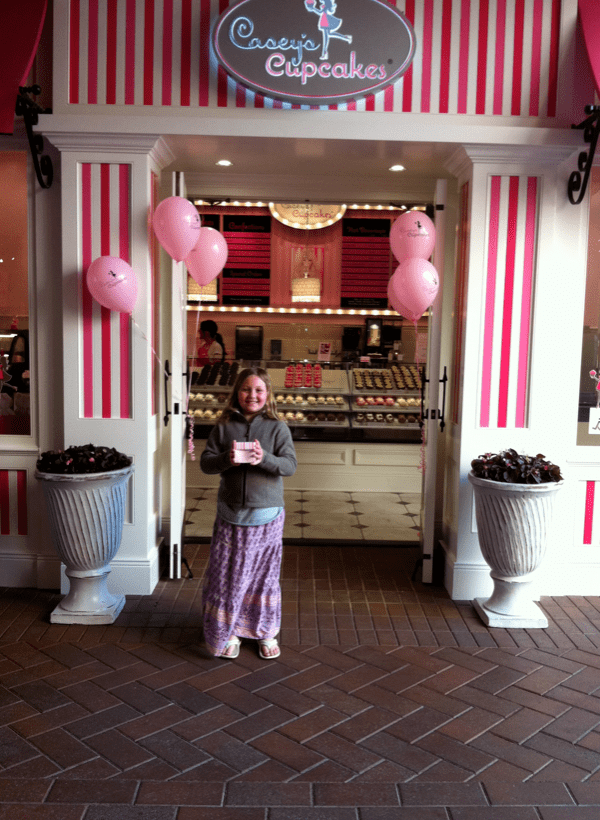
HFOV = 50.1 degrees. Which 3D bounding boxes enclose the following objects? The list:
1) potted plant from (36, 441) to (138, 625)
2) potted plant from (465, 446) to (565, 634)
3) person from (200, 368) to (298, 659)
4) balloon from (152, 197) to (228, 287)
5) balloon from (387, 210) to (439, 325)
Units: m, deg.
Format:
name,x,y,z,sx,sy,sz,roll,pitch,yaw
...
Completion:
name,x,y,z,sx,sy,sz,roll,pitch,yaw
potted plant,-1.093,0.647,3.299,0.474,0.897,0.387,0,3,-23
potted plant,1.148,0.707,3.436,0.531,0.820,0.496,6,-3,-29
person,-0.229,0.479,2.958,0.410,1.328,0.364,0,3,-30
balloon,-0.621,-0.942,3.599,0.311,0.421,0.560,2,3,6
balloon,0.666,-0.857,3.740,0.302,0.668,0.459,2,3,8
